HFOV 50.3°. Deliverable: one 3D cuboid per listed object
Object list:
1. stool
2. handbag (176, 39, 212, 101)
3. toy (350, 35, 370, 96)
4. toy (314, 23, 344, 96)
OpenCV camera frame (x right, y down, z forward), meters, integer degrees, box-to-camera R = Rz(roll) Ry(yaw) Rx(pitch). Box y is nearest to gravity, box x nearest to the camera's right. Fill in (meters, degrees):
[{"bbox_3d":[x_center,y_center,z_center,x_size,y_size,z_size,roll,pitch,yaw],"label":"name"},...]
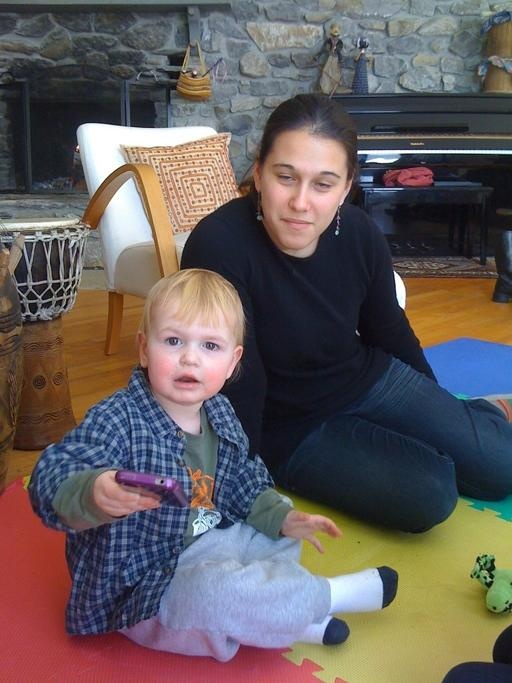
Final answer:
[{"bbox_3d":[1.220,-0.839,4.007,0.945,0.485,0.525,-2,11,14],"label":"stool"},{"bbox_3d":[-0.435,-1.899,3.846,0.251,0.413,0.329,0,11,-6],"label":"handbag"},{"bbox_3d":[0.766,-1.990,3.971,0.121,0.457,0.276,2,11,8],"label":"toy"},{"bbox_3d":[0.539,-2.018,3.982,0.194,0.490,0.205,2,11,6],"label":"toy"}]
